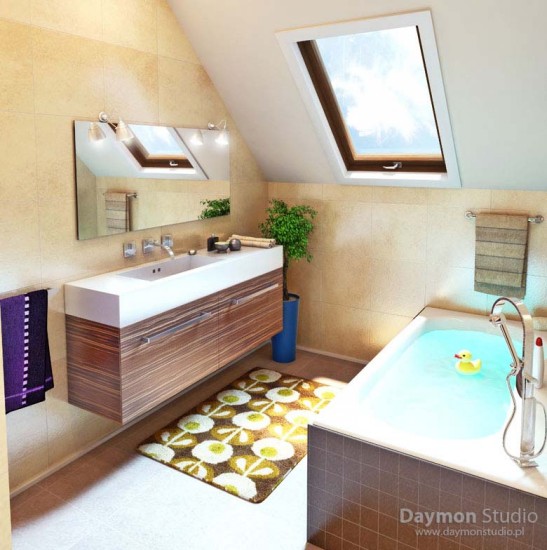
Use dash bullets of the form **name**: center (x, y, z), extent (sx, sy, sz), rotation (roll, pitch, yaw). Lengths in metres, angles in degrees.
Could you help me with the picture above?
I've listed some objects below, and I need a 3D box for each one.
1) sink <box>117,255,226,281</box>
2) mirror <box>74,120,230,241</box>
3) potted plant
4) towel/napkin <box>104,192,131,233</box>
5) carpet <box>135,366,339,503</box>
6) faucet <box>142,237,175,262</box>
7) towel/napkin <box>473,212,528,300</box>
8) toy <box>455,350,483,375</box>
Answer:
- **sink**: center (-0.687, -0.045, 2.923), extent (0.700, 0.110, 0.211), rotation (-10, 17, -40)
- **mirror**: center (-0.716, -0.637, 2.884), extent (0.070, 0.692, 1.292), rotation (7, 14, 28)
- **potted plant**: center (0.143, 0.044, 3.882), extent (0.446, 1.356, 0.506), rotation (-2, 12, -8)
- **towel/napkin**: center (-0.896, -0.372, 2.621), extent (0.043, 0.240, 0.193), rotation (5, 13, 21)
- **carpet**: center (-0.226, 0.975, 2.732), extent (0.559, 0.013, 1.001), rotation (7, 14, 25)
- **faucet**: center (-0.728, -0.180, 2.902), extent (0.193, 0.081, 0.101), rotation (9, 13, 33)
- **towel/napkin**: center (1.560, -0.139, 3.109), extent (0.372, 0.574, 0.109), rotation (7, 14, 27)
- **toy**: center (1.181, 0.522, 2.695), extent (0.155, 0.117, 0.114), rotation (2, 0, -18)
